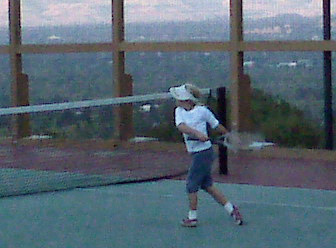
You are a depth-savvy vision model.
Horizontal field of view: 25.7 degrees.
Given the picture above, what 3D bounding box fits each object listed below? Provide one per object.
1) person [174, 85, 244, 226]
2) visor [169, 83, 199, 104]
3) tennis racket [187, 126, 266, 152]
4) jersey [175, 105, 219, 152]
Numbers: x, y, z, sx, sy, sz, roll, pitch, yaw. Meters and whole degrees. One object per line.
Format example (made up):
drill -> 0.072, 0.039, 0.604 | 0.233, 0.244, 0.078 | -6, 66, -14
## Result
person -> 0.601, 0.424, 11.406 | 0.908, 2.117, 0.912 | -3, 9, 4
visor -> 0.241, -0.455, 11.217 | 0.470, 0.300, 0.200 | -1, 9, 13
tennis racket -> 1.015, 0.259, 12.693 | 1.809, 0.364, 0.460 | -1, -15, -8
jersey -> 0.492, 0.044, 11.546 | 0.855, 0.810, 0.481 | -6, -11, 13
